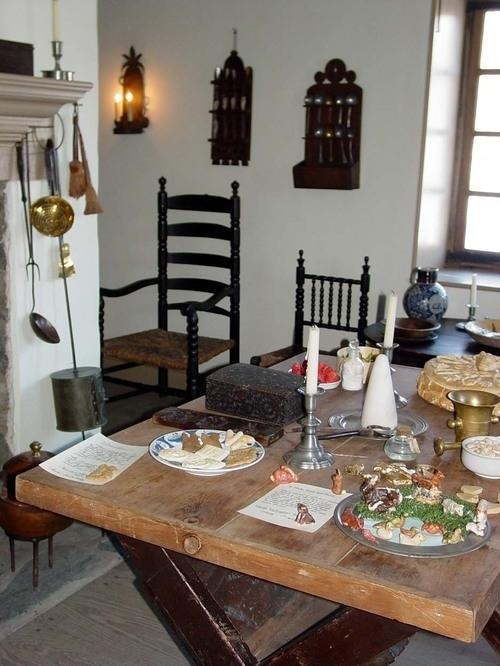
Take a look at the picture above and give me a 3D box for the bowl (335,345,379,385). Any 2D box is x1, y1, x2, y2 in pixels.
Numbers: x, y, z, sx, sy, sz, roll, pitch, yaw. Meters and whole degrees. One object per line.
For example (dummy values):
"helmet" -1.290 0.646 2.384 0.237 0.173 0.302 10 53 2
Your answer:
"bowl" 0.341 0.100 1.801 0.113 0.054 0.136 2 8 10

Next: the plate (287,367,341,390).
"plate" 0.204 0.128 1.650 0.092 0.031 0.096 3 14 1

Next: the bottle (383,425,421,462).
"bottle" 0.308 0.232 1.141 0.075 0.065 0.071 0 14 -1

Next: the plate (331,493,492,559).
"plate" 0.223 0.284 0.826 0.226 0.024 0.158 4 11 30
